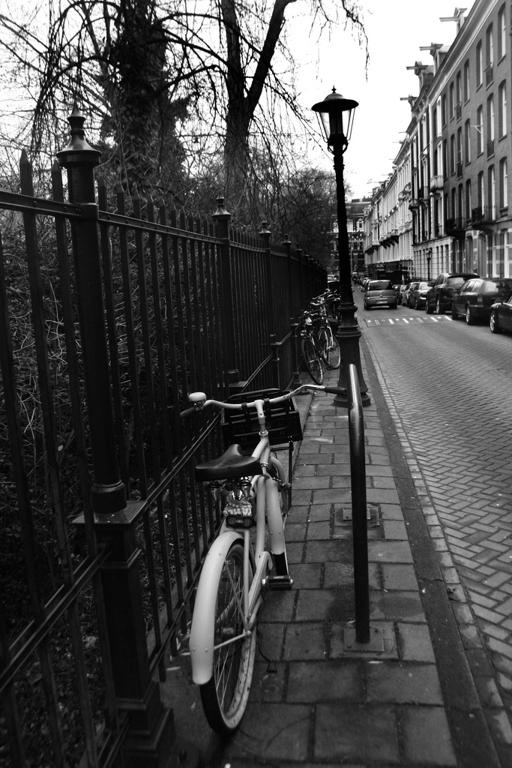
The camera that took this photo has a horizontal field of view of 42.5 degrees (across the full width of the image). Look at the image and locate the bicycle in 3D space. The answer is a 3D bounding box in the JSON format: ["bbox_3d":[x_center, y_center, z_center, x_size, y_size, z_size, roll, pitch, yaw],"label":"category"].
[{"bbox_3d":[-0.028,0.561,2.590,0.399,0.872,1.451,-9,27,17],"label":"bicycle"}]
